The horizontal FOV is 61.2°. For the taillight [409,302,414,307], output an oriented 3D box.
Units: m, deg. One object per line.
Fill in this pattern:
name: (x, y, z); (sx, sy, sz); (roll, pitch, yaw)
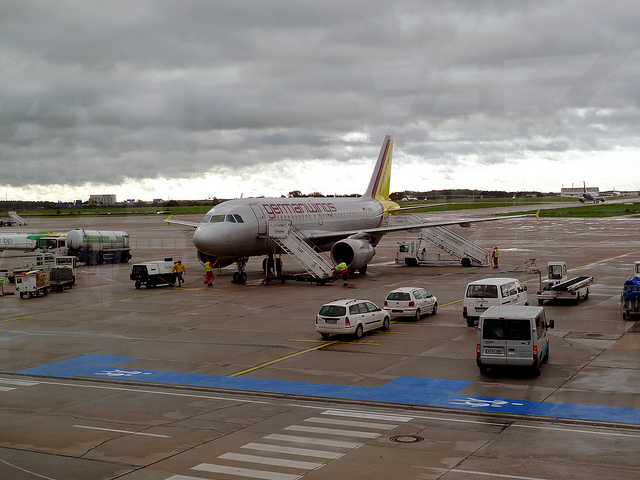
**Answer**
taillight: (4.899, 3.407, 28.705); (0.381, 0.222, 0.215); (0, -3, 2)

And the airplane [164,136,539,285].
airplane: (0.235, -1.023, 49.127); (27.420, 6.554, 22.809); (1, 2, 32)

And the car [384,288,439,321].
car: (4.987, 3.428, 30.111); (3.636, 1.477, 2.312); (-1, 5, 15)

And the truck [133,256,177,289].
truck: (-12.962, 2.699, 43.728); (2.379, 1.677, 3.946); (-5, -2, 44)

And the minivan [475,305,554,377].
minivan: (7.212, 3.777, 20.153); (2.043, 2.309, 2.051); (0, 6, 28)

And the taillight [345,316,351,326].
taillight: (1.294, 3.740, 25.032); (0.202, 0.324, 0.056); (-3, 6, -3)

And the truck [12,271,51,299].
truck: (-21.294, 3.192, 39.714); (2.028, 1.246, 2.790); (-1, -2, -13)

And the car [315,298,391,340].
car: (1.676, 3.706, 26.000); (2.725, 1.459, 5.368); (0, 1, 29)

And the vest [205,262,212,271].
vest: (-8.926, 2.132, 43.030); (0.372, 0.694, 0.787); (-4, 5, -10)

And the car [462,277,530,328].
car: (9.202, 3.064, 27.687); (3.064, 1.977, 5.830); (2, 3, 38)

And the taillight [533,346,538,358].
taillight: (7.743, 3.962, 19.253); (0.249, 0.387, 0.075); (-6, 6, -29)

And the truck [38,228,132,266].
truck: (-26.350, 0.858, 61.249); (8.808, 3.979, 3.458); (-5, 6, -42)
